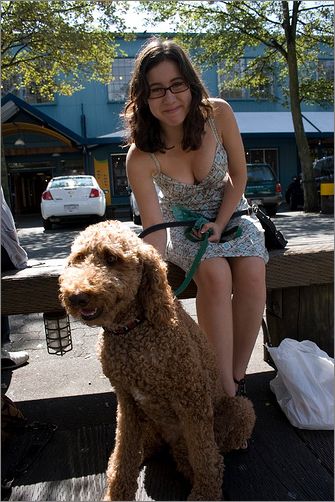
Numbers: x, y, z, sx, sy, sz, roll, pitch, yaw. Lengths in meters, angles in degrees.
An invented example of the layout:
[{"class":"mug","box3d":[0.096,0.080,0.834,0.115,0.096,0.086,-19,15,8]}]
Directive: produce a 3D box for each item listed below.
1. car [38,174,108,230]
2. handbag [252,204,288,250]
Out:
[{"class":"car","box3d":[-2.725,-1.454,11.856,1.089,0.888,1.993,-4,13,-3]},{"class":"handbag","box3d":[0.643,-0.152,2.497,0.106,0.279,0.220,-27,11,-12]}]
